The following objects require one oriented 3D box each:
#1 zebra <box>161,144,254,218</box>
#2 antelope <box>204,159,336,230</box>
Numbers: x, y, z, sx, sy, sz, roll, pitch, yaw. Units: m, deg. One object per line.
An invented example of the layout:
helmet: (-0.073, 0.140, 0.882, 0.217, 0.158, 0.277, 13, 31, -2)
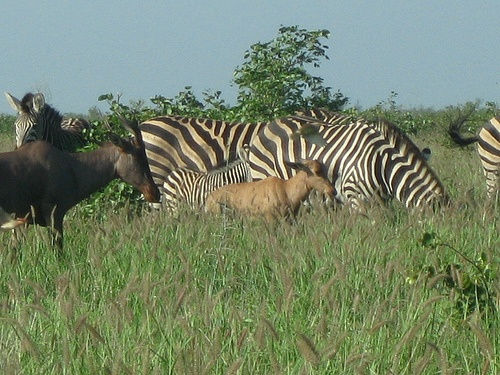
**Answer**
zebra: (-0.578, -0.071, 11.813, 0.957, 0.978, 0.867, -9, 10, -39)
antelope: (0.260, 0.034, 10.468, 1.570, 0.789, 0.843, -1, -11, -3)
